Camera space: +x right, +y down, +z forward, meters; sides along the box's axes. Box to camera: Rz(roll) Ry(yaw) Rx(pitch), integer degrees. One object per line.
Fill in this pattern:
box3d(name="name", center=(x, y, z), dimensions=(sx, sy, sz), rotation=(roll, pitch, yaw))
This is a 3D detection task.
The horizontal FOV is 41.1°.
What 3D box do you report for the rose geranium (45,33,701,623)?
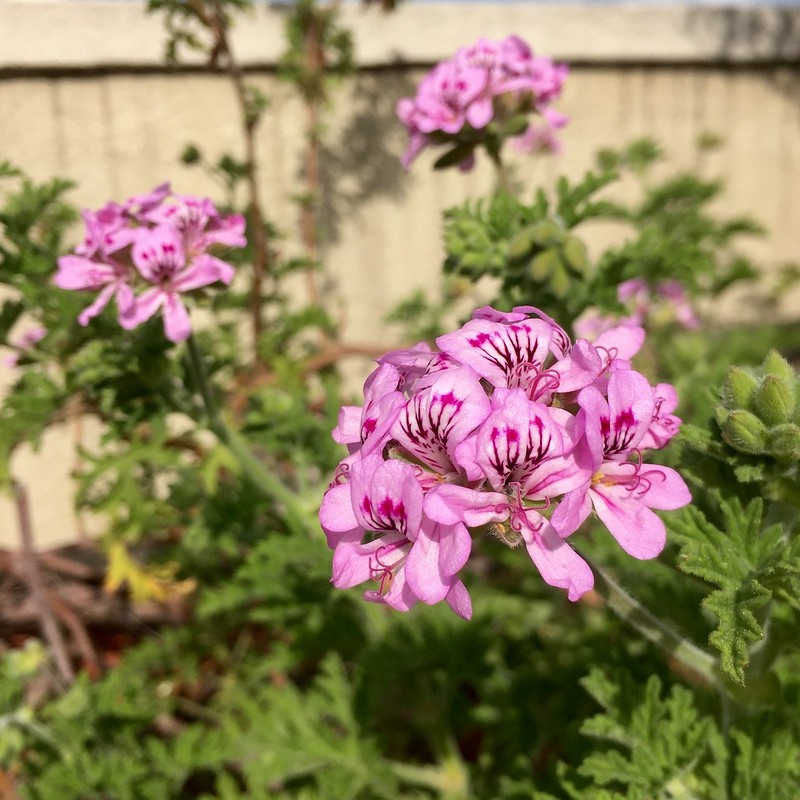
box3d(name="rose geranium", center=(-0.064, 0.029, 3.561), dimensions=(1.892, 1.841, 0.700), rotation=(34, -8, 13))
